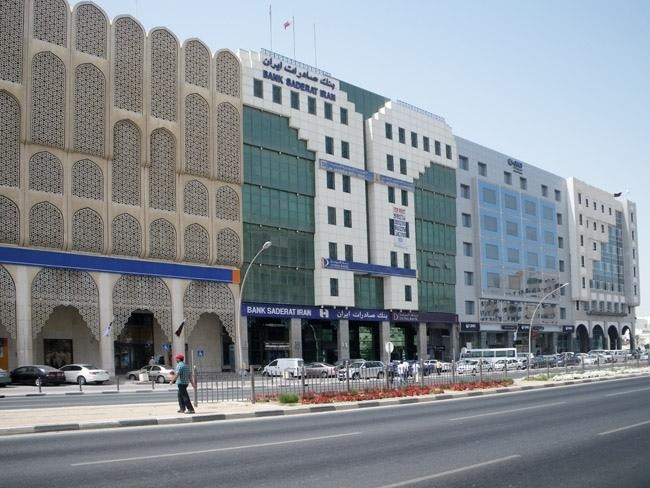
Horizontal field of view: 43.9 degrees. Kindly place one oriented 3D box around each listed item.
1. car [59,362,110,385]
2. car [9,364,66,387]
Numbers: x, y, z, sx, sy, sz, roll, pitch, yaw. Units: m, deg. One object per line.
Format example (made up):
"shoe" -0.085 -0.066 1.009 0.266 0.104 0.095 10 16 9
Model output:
"car" -16.322 8.733 54.167 2.910 0.987 1.416 1 -6 26
"car" -18.494 8.485 52.042 3.168 1.275 1.542 4 -13 -17
